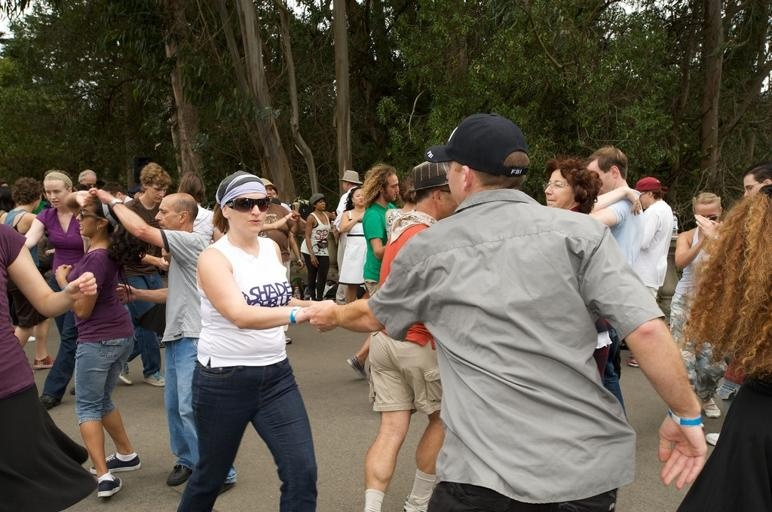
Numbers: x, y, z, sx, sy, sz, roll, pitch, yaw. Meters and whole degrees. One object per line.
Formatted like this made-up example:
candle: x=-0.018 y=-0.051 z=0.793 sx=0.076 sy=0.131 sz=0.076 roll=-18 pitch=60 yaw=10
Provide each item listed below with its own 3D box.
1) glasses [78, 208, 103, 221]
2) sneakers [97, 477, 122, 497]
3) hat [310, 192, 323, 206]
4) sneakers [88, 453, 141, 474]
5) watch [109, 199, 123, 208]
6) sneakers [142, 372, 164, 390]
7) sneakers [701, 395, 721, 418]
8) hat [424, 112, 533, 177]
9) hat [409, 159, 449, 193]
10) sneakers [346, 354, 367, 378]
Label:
glasses: x=-2.629 y=-0.378 z=5.800 sx=0.243 sy=0.099 sz=0.078 roll=2 pitch=8 yaw=14
sneakers: x=-2.493 y=2.058 z=5.874 sx=0.109 sy=0.138 sz=0.297 roll=0 pitch=-1 yaw=2
hat: x=-1.404 y=-1.164 z=12.770 sx=0.274 sy=0.082 sz=0.267 roll=-27 pitch=2 yaw=6
sneakers: x=-2.633 y=1.975 z=6.349 sx=0.516 sy=0.207 sz=0.188 roll=5 pitch=-1 yaw=-19
watch: x=-2.429 y=-0.473 z=5.844 sx=0.090 sy=0.058 sz=0.114 roll=-6 pitch=4 yaw=-14
sneakers: x=-3.089 y=1.652 z=8.652 sx=0.348 sy=0.152 sz=0.142 roll=1 pitch=0 yaw=21
sneakers: x=3.779 y=1.721 z=7.478 sx=0.184 sy=0.220 sz=0.565 roll=-10 pitch=-13 yaw=19
hat: x=0.598 y=-0.706 z=4.039 sx=0.682 sy=0.362 sz=0.509 roll=18 pitch=16 yaw=35
hat: x=0.351 y=-0.662 z=5.410 sx=0.296 sy=0.153 sz=0.190 roll=-11 pitch=12 yaw=0
sneakers: x=-0.375 y=1.485 z=8.818 sx=0.197 sy=0.475 sz=0.152 roll=-27 pitch=41 yaw=3
